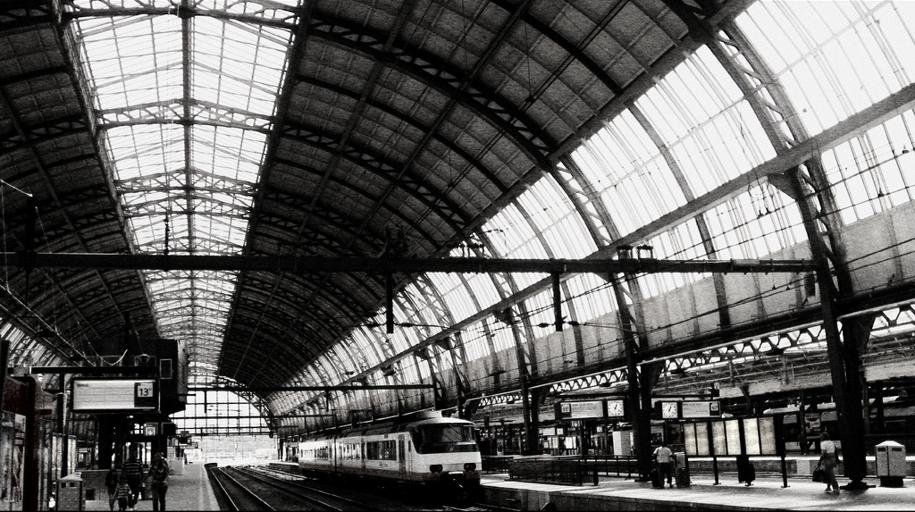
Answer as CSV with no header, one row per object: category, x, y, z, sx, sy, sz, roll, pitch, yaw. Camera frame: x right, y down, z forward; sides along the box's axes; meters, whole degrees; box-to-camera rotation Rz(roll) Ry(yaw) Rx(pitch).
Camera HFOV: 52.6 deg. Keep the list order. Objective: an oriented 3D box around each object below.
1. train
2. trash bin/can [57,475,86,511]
train,-6.345,15.485,72.870,5.381,4.161,24.633,10,-17,-30
trash bin/can,-23.645,14.308,56.233,1.531,2.011,1.062,4,-21,-22
